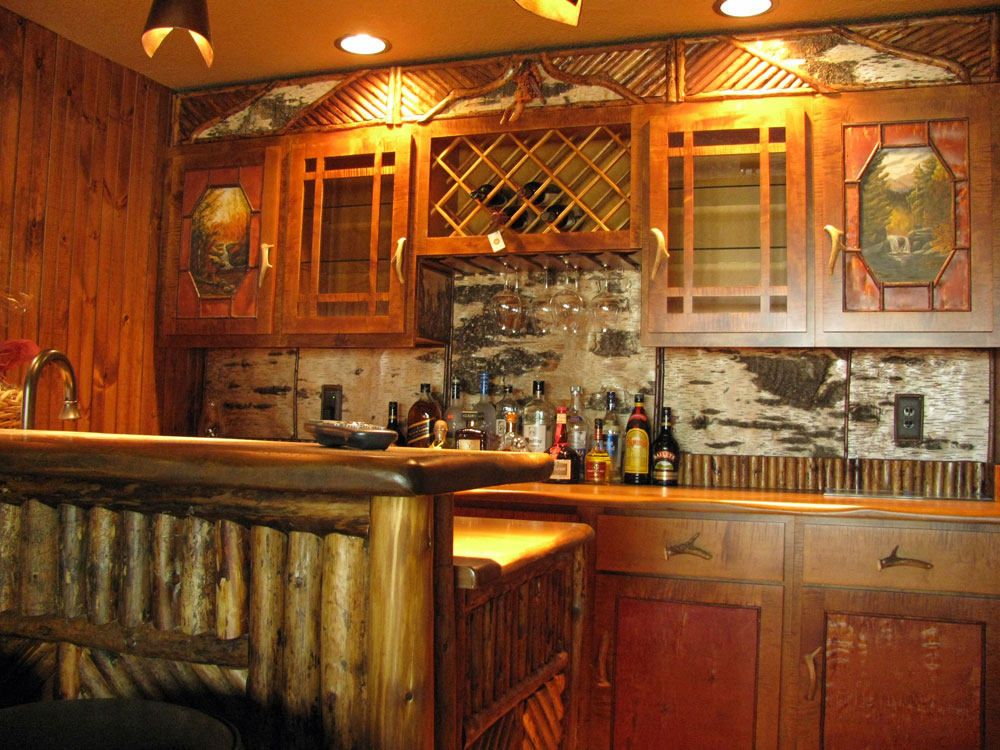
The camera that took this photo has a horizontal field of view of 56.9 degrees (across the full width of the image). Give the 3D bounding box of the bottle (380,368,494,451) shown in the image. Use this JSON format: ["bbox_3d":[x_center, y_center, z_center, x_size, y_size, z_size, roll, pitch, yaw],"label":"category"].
[{"bbox_3d":[-0.277,0.156,3.820,0.496,0.268,0.294,0,-3,39],"label":"bottle"}]

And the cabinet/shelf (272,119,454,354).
[{"bbox_3d":[-0.575,-0.564,3.800,0.641,0.884,0.210,1,-3,19],"label":"cabinet/shelf"}]

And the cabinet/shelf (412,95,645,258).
[{"bbox_3d":[0.125,-0.775,3.585,0.846,0.401,0.114,0,-3,12],"label":"cabinet/shelf"}]

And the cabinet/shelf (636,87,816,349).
[{"bbox_3d":[0.967,-0.576,3.571,0.764,0.834,0.571,2,8,27],"label":"cabinet/shelf"}]

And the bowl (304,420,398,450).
[{"bbox_3d":[-0.305,0.110,1.873,0.133,0.033,0.078,2,-1,31],"label":"bowl"}]

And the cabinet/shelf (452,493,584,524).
[{"bbox_3d":[0.056,0.456,3.208,0.493,0.079,0.094,1,-2,27],"label":"cabinet/shelf"}]

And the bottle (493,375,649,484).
[{"bbox_3d":[0.302,0.202,3.453,0.491,0.276,0.114,0,-17,14],"label":"bottle"}]

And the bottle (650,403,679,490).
[{"bbox_3d":[0.649,0.270,3.578,0.111,0.298,0.147,2,-2,10],"label":"bottle"}]
